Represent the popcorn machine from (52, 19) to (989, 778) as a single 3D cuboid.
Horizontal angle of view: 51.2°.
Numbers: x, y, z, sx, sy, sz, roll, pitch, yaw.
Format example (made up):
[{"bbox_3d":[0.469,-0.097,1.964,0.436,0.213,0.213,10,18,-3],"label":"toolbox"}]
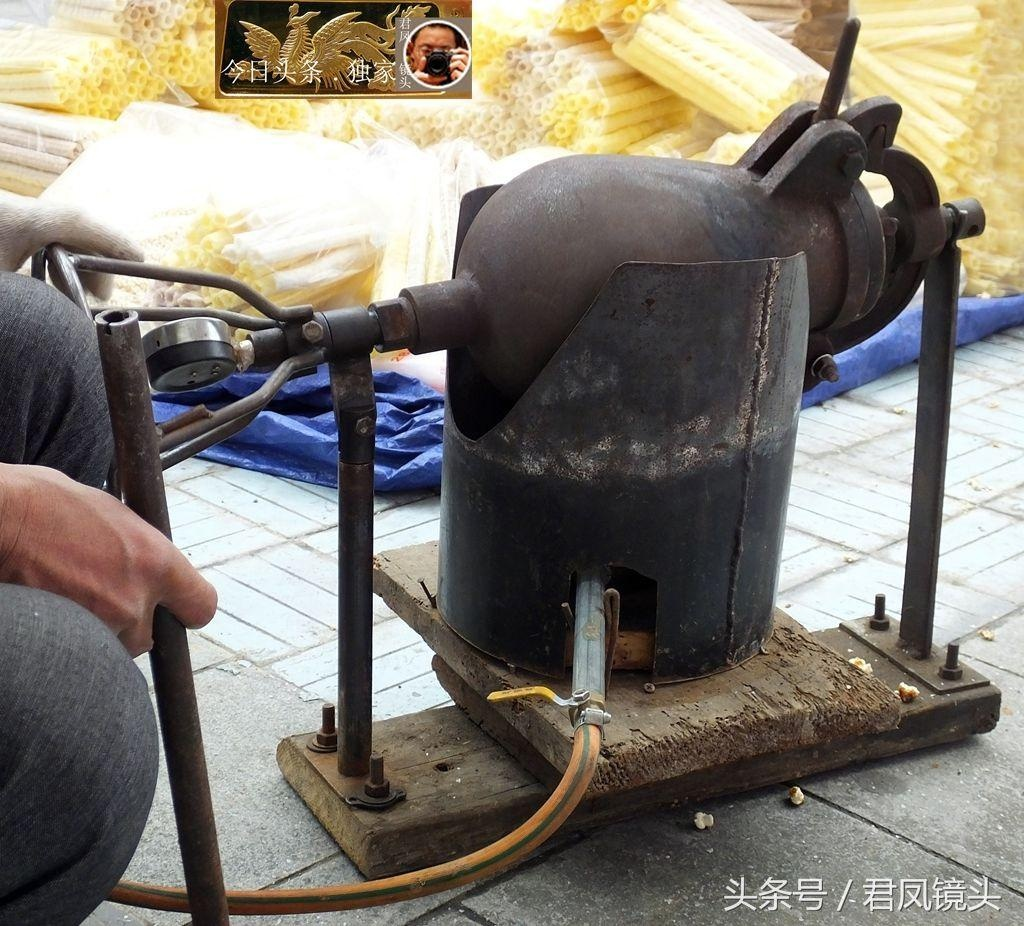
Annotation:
[{"bbox_3d":[0.130,-0.079,1.708,1.549,1.149,0.542,-17,31,-29],"label":"popcorn machine"}]
